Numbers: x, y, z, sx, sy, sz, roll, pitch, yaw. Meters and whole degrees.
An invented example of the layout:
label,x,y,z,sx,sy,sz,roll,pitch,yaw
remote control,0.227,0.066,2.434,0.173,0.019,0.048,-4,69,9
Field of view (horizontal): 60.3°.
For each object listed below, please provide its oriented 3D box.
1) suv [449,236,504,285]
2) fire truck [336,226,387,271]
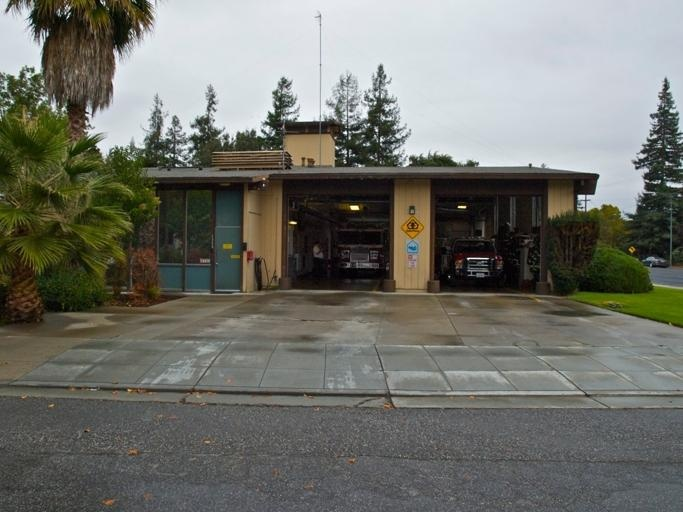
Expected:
label,x,y,z,sx,sy,sz,roll,pitch,yaw
suv,5.478,0.152,24.775,2.094,1.996,4.110,1,2,-1
fire truck,1.099,-0.307,32.125,2.652,2.422,4.533,1,2,0
